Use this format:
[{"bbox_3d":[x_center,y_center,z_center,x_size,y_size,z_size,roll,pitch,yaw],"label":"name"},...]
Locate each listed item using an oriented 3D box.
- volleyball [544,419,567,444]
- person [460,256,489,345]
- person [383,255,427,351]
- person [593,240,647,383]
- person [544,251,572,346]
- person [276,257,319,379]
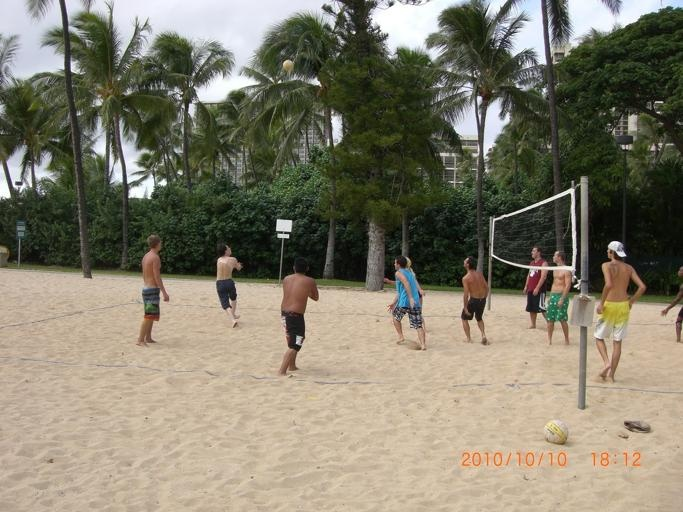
[{"bbox_3d":[2.663,2.199,8.589,0.261,0.277,0.277,16,-9,43],"label":"volleyball"},{"bbox_3d":[2.498,0.797,12.790,0.495,1.727,1.399,2,10,11],"label":"person"},{"bbox_3d":[1.222,0.785,12.625,0.667,1.746,1.470,1,10,6],"label":"person"},{"bbox_3d":[4.146,0.833,10.380,0.694,2.132,0.386,-4,11,-23],"label":"person"},{"bbox_3d":[3.947,0.782,12.480,0.452,1.731,1.161,4,11,19],"label":"person"},{"bbox_3d":[-0.694,0.872,10.860,0.588,1.851,1.100,0,10,-4],"label":"person"}]
